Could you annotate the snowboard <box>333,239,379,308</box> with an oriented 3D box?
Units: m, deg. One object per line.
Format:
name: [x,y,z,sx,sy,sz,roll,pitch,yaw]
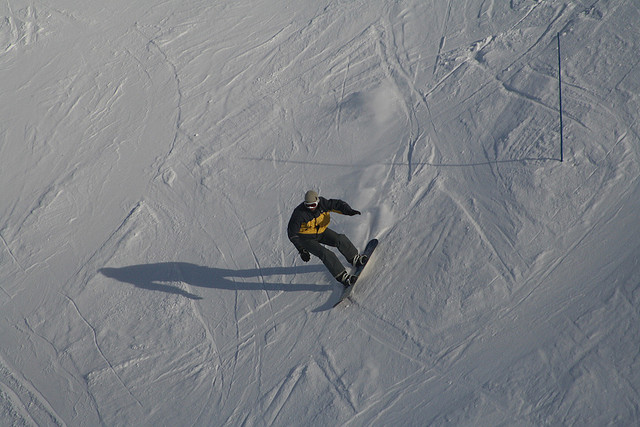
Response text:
snowboard: [0.981,1.681,27.088,0.251,0.156,2.009,12,68,48]
